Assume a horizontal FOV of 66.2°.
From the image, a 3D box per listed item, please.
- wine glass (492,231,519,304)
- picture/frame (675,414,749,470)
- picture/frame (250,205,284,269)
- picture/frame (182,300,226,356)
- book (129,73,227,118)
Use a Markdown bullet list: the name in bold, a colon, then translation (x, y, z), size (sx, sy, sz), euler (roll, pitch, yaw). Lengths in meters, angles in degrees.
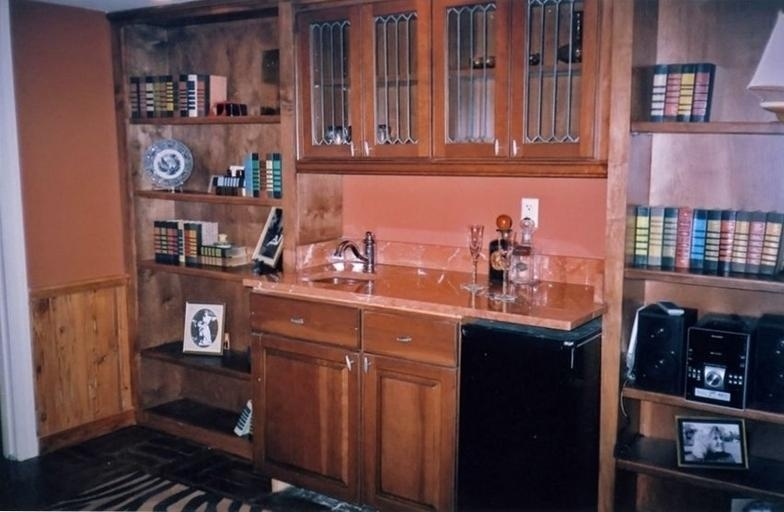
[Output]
- **wine glass**: translation (0.617, 0.051, 3.356), size (0.140, 0.340, 0.385), euler (2, 8, 8)
- **picture/frame**: translation (1.640, 0.958, 3.083), size (0.331, 0.257, 0.025), euler (-2, -2, 11)
- **picture/frame**: translation (-0.852, -0.125, 4.085), size (0.220, 0.399, 0.178), euler (1, 8, 0)
- **picture/frame**: translation (-1.371, 0.538, 4.390), size (0.393, 0.373, 0.058), euler (0, -5, 23)
- **book**: translation (-1.548, -1.116, 4.269), size (0.712, 0.286, 0.168), euler (3, 8, 16)
